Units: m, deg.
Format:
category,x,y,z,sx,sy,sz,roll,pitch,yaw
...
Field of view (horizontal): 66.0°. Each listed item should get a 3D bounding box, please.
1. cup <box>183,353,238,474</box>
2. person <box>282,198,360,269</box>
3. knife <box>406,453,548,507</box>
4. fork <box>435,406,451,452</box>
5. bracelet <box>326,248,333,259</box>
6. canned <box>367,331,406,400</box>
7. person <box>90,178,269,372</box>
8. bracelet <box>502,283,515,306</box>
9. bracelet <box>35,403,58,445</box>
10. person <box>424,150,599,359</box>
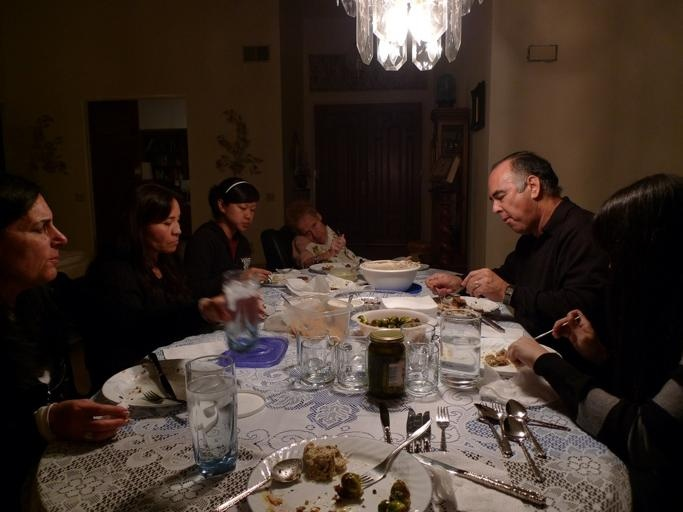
category,x,y,z,sx,sy,sz,roll,pitch,yaw
cup,-0.346,0.424,1.421,0.124,0.277,0.152,-4,14,-15
person,-0.208,-0.279,5.239,0.287,0.460,0.925,-6,-9,32
knife,0.336,0.573,1.333,0.288,0.022,0.043,13,12,15
fork,0.286,0.498,1.508,0.024,0.023,0.197,-6,20,14
bracelet,-0.088,-0.027,3.949,0.049,0.052,0.049,-2,-6,45
canned,0.143,0.339,1.687,0.125,0.219,0.129,-10,19,-25
person,-0.782,-0.070,3.122,0.859,1.758,0.662,-4,15,-6
bracelet,0.789,0.187,2.485,0.045,0.078,0.080,17,-21,23
bracelet,-0.847,0.478,1.500,0.069,0.051,0.093,7,18,-3
person,0.964,-0.013,3.194,0.872,1.709,0.949,0,-2,5
